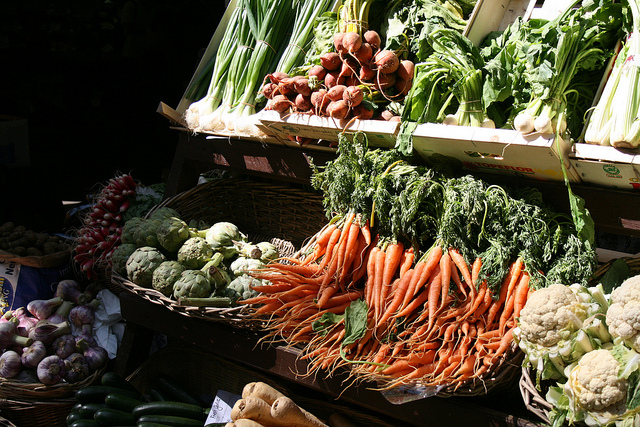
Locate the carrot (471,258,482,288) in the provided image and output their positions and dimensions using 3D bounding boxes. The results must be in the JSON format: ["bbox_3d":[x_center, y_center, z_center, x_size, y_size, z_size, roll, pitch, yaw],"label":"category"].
[{"bbox_3d":[0.729,0.277,2.074,0.031,0.135,0.036,8,-4,44],"label":"carrot"}]

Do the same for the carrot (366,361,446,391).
[{"bbox_3d":[0.406,0.751,2.056,0.058,0.232,0.042,58,-14,28],"label":"carrot"}]

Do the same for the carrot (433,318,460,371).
[{"bbox_3d":[0.604,0.599,2.110,0.072,0.286,0.064,30,-17,16],"label":"carrot"}]

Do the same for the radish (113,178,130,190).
[{"bbox_3d":[-1.408,-0.207,3.152,0.118,0.023,0.029,45,31,9],"label":"radish"}]

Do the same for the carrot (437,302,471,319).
[{"bbox_3d":[0.634,0.457,2.096,0.126,0.109,0.029,13,20,5],"label":"carrot"}]

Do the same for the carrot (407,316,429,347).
[{"bbox_3d":[0.469,0.567,2.126,0.034,0.170,0.028,42,8,-38],"label":"carrot"}]

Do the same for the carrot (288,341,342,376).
[{"bbox_3d":[-0.017,0.752,2.223,0.279,0.030,0.103,-29,28,-8],"label":"carrot"}]

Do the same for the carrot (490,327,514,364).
[{"bbox_3d":[0.813,0.591,1.973,0.032,0.188,0.031,31,-9,-10],"label":"carrot"}]

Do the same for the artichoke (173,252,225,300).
[{"bbox_3d":[-0.685,0.380,2.551,0.156,0.133,0.277,22,40,12],"label":"artichoke"}]

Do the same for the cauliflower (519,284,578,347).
[{"bbox_3d":[0.979,0.433,1.832,0.252,0.194,0.137,20,39,-47],"label":"cauliflower"}]

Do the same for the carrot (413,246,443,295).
[{"bbox_3d":[0.531,0.256,2.158,0.088,0.096,0.402,-11,17,35],"label":"carrot"}]

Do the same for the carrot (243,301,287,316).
[{"bbox_3d":[-0.276,0.497,2.318,0.198,0.070,0.034,2,21,-22],"label":"carrot"}]

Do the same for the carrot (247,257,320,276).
[{"bbox_3d":[-0.183,0.296,2.414,0.417,0.077,0.098,8,-34,0],"label":"carrot"}]

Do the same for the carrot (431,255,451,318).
[{"bbox_3d":[0.592,0.334,2.147,0.069,0.319,0.065,10,-8,4],"label":"carrot"}]

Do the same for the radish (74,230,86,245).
[{"bbox_3d":[-1.650,0.172,3.014,0.018,0.016,0.084,-19,68,-51],"label":"radish"}]

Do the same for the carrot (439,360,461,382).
[{"bbox_3d":[0.594,0.699,2.013,0.033,0.138,0.030,40,-5,-16],"label":"carrot"}]

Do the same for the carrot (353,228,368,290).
[{"bbox_3d":[0.201,0.244,2.390,0.041,0.329,0.049,17,10,27],"label":"carrot"}]

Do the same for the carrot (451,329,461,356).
[{"bbox_3d":[0.633,0.603,2.071,0.016,0.117,0.019,21,-8,-10],"label":"carrot"}]

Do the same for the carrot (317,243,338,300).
[{"bbox_3d":[0.052,0.312,2.376,0.042,0.342,0.064,14,-12,46],"label":"carrot"}]

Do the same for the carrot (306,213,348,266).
[{"bbox_3d":[0.043,0.148,2.465,0.046,0.338,0.044,37,-9,31],"label":"carrot"}]

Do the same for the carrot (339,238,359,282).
[{"bbox_3d":[0.148,0.235,2.326,0.033,0.249,0.035,36,10,36],"label":"carrot"}]

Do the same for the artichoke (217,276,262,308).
[{"bbox_3d":[-0.481,0.400,2.571,0.225,0.109,0.157,0,16,-32],"label":"artichoke"}]

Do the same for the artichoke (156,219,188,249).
[{"bbox_3d":[-0.899,0.128,2.778,0.138,0.163,0.183,27,17,15],"label":"artichoke"}]

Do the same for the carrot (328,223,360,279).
[{"bbox_3d":[0.122,0.185,2.285,0.047,0.247,0.050,27,-4,-25],"label":"carrot"}]

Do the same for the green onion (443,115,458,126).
[{"bbox_3d":[0.629,-0.447,2.130,0.068,0.045,0.066,14,21,9],"label":"green onion"}]

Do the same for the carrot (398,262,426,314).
[{"bbox_3d":[0.449,0.368,2.160,0.043,0.254,0.044,24,-2,30],"label":"carrot"}]

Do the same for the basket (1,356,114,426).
[{"bbox_3d":[-1.727,1.126,2.795,0.432,0.191,0.439,2,2,2],"label":"basket"}]

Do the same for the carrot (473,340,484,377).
[{"bbox_3d":[0.725,0.661,2.025,0.035,0.152,0.039,-6,-28,32],"label":"carrot"}]

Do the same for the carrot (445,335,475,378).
[{"bbox_3d":[0.630,0.655,2.016,0.043,0.171,0.034,9,-29,51],"label":"carrot"}]

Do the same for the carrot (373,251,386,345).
[{"bbox_3d":[0.292,0.381,2.199,0.051,0.327,0.055,1,-5,5],"label":"carrot"}]

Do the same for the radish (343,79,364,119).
[{"bbox_3d":[0.171,-0.619,2.361,0.110,0.224,0.210,-3,23,-1],"label":"radish"}]

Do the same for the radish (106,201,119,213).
[{"bbox_3d":[-1.452,-0.045,3.085,0.111,0.034,0.036,48,27,-16],"label":"radish"}]

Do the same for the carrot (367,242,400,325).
[{"bbox_3d":[0.324,0.334,2.246,0.112,0.452,0.108,21,-23,-25],"label":"carrot"}]

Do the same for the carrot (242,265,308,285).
[{"bbox_3d":[-0.237,0.337,2.402,0.395,0.074,0.041,9,-19,5],"label":"carrot"}]

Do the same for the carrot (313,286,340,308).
[{"bbox_3d":[0.031,0.422,2.313,0.049,0.156,0.041,46,-21,-28],"label":"carrot"}]
